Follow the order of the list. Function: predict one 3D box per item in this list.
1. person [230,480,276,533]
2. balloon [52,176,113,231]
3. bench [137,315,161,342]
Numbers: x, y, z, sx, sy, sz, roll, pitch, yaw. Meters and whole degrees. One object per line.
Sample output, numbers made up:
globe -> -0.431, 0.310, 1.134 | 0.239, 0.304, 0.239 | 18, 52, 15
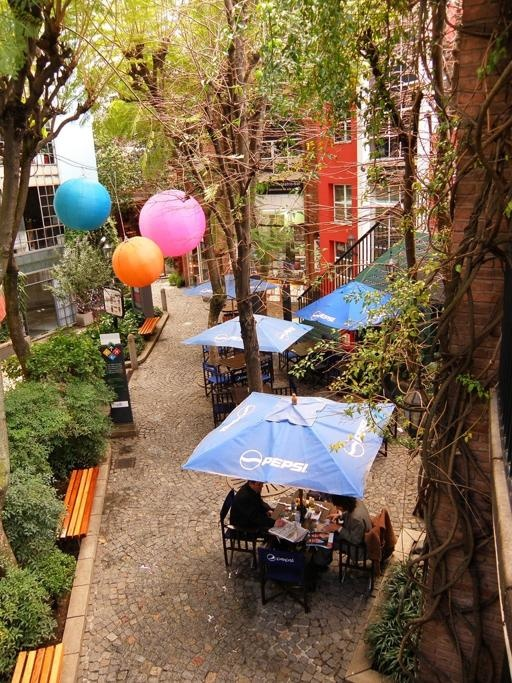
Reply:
person -> -0.126, 2.123, 6.554 | 0.638, 0.827, 0.549 | -2, 24, -8
balloon -> -2.856, -2.058, 7.902 | 0.851, 0.966, 0.814 | 0, 5, 4
bench -> -4.082, -0.503, 18.896 | 0.360, 0.317, 1.320 | 10, 26, -6
